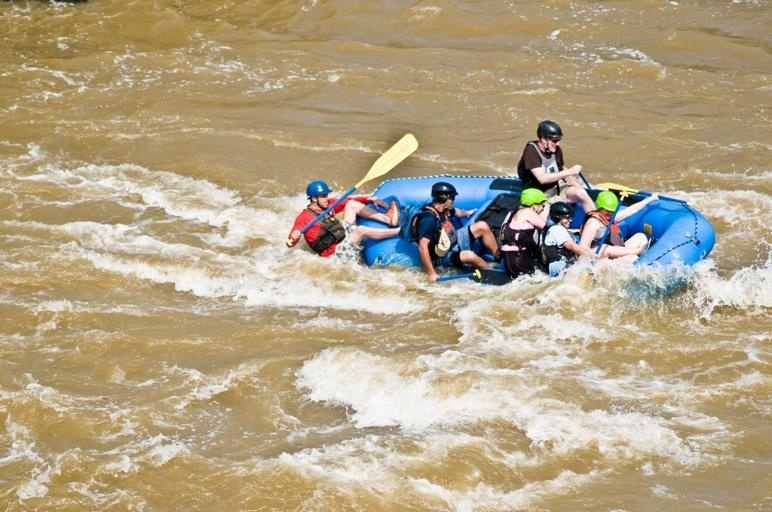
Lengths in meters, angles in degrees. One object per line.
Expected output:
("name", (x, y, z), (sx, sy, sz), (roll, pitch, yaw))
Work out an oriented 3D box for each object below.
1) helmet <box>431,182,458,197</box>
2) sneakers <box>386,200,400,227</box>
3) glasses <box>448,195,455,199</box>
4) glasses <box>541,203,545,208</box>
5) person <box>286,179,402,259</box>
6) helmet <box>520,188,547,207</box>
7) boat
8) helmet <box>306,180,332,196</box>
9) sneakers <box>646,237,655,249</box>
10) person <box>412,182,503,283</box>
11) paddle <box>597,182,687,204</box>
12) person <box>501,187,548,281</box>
("helmet", (0.820, -0.956, 17.333), (0.353, 0.112, 0.206), (1, -2, -17))
("sneakers", (0.097, -0.631, 17.734), (0.223, 0.157, 0.399), (11, 46, -12))
("glasses", (0.928, -0.841, 17.343), (0.073, 0.048, 0.018), (-1, 4, -16))
("glasses", (2.252, -0.736, 17.308), (0.060, 0.042, 0.015), (-19, -17, 22))
("person", (-0.665, -0.463, 17.766), (1.688, 0.732, 1.381), (0, 23, 21))
("helmet", (2.078, -0.836, 17.167), (0.414, 0.198, 0.242), (9, 9, 6))
("boat", (2.202, -0.593, 17.493), (4.641, 0.619, 1.943), (2, 29, 6))
("helmet", (-1.033, -1.005, 17.887), (0.404, 0.142, 0.245), (-10, 4, 10))
("sneakers", (3.792, -0.199, 17.185), (0.166, 0.061, 0.157), (0, 54, 6))
("person", (1.031, -0.274, 17.361), (1.392, 1.065, 1.187), (-9, 41, 16))
("paddle", (3.641, -0.849, 17.578), (1.481, 0.086, 0.477), (12, 26, 35))
("person", (1.941, -0.308, 17.010), (0.653, 1.211, 0.758), (6, 23, 3))
